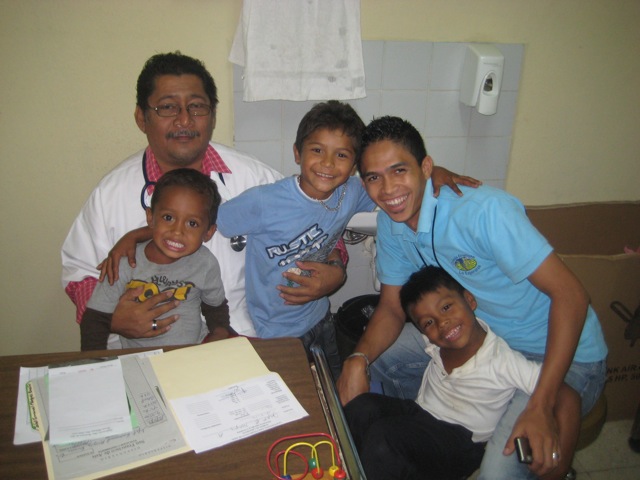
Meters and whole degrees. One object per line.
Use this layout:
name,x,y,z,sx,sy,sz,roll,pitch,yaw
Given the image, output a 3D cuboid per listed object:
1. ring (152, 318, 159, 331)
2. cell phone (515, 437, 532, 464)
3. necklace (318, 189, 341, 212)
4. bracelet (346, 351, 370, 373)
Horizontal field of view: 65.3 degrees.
ring,-0.627,0.318,1.883,0.024,0.035,0.021,-7,20,-11
cell phone,0.684,0.703,1.677,0.027,0.085,0.088,-16,-17,31
necklace,0.040,-0.164,2.176,0.076,0.068,0.096,4,64,3
bracelet,0.172,0.506,2.075,0.067,0.035,0.083,-13,49,-16
